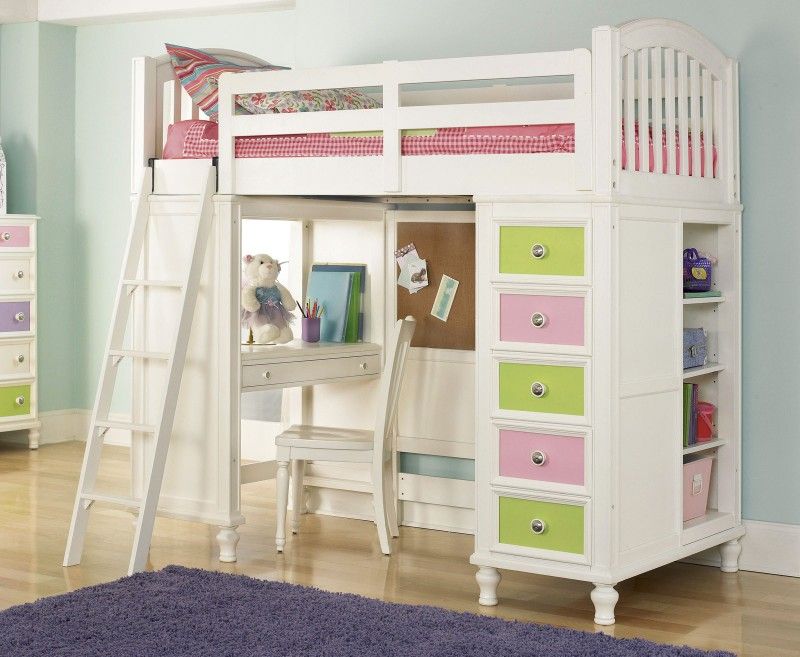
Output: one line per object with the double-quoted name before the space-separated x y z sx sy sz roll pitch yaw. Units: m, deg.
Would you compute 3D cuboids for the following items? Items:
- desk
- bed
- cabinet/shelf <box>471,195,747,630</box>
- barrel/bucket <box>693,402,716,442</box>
"desk" -0.585 0.538 4.011 0.649 0.806 1.129 -9 -5 34
"bed" 0.099 -0.693 3.338 1.947 0.590 1.028 1 6 25
"cabinet/shelf" 0.834 0.250 3.143 1.157 1.461 0.455 0 2 -39
"barrel/bucket" 1.225 0.383 3.369 0.098 0.154 0.136 3 -3 -11
